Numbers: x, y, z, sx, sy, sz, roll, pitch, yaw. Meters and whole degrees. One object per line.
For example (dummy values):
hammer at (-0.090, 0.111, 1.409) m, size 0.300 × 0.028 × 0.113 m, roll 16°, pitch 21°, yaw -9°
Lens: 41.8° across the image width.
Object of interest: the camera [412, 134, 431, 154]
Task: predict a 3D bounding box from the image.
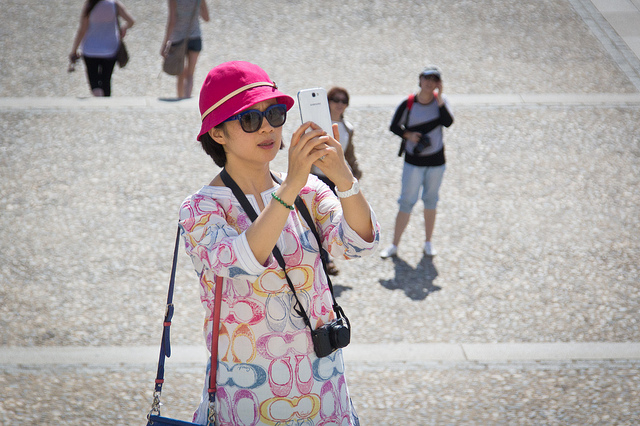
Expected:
camera at (1.058, -0.728, 8.666) m, size 0.137 × 0.099 × 0.220 m, roll 46°, pitch 106°, yaw 18°

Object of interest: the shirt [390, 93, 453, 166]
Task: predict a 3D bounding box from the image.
shirt at (1.058, -0.920, 8.797) m, size 0.716 × 0.716 × 0.516 m, roll 2°, pitch 37°, yaw 4°
